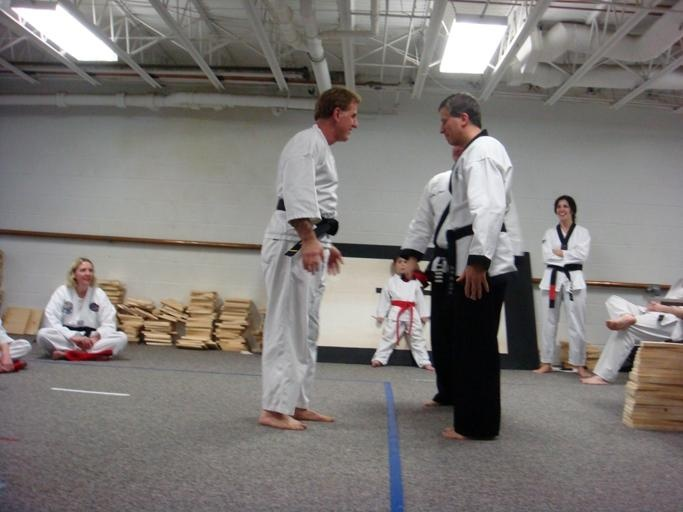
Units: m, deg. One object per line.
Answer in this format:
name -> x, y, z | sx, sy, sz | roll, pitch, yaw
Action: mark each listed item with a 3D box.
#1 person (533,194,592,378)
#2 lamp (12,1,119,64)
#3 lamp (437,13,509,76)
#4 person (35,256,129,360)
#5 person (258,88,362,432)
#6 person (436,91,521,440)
person -> 2.740, 0.348, 6.335 | 0.552, 2.156, 0.467 | 4, 6, 22
lamp -> -3.369, -2.744, 6.435 | 0.782, 0.326, 1.093 | 3, 5, 6
lamp -> 1.590, -2.549, 6.280 | 0.403, 0.143, 0.602 | 5, -16, -4
person -> -2.834, 0.591, 5.650 | 0.859, 1.089, 0.479 | -1, 7, -32
person -> -0.271, 0.134, 3.603 | 0.560, 2.098, 0.450 | 1, 6, -9
person -> 0.953, 0.040, 3.581 | 0.497, 2.373, 0.558 | 3, 6, 10
